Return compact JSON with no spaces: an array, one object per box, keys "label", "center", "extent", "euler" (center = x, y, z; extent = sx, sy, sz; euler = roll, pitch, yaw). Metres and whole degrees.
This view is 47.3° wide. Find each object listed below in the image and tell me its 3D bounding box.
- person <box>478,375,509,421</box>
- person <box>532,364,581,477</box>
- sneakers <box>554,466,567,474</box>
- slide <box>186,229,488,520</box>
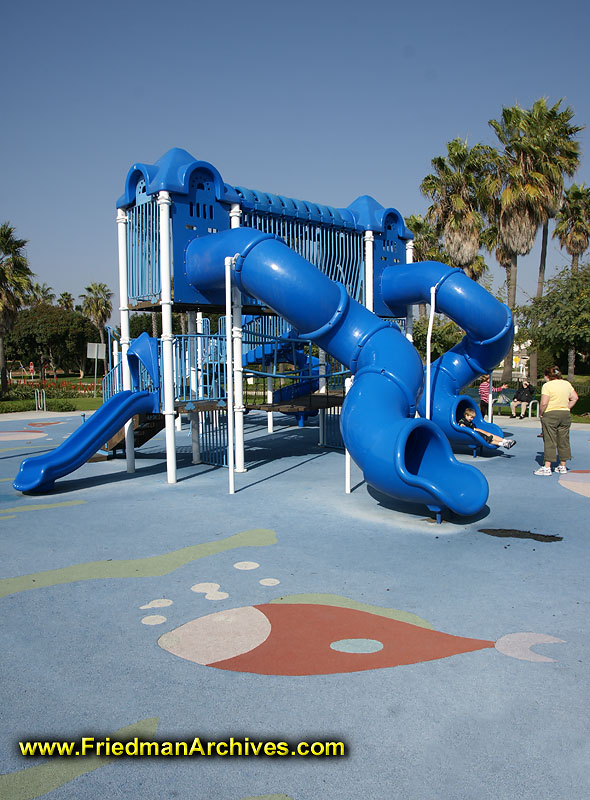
[{"label":"person","center":[6.214,-0.029,21.087],"extent":[0.651,0.446,1.470],"euler":[-17,-24,6]},{"label":"person","center":[4.350,0.349,11.264],"extent":[0.644,1.793,1.557],"euler":[0,4,20]},{"label":"sneakers","center":[4.503,1.173,11.372],"extent":[0.102,0.110,0.264],"euler":[-1,3,13]},{"label":"slide","center":[0.634,-0.637,9.187],"extent":[1.629,3.832,4.416],"euler":[-4,5,-44]}]
